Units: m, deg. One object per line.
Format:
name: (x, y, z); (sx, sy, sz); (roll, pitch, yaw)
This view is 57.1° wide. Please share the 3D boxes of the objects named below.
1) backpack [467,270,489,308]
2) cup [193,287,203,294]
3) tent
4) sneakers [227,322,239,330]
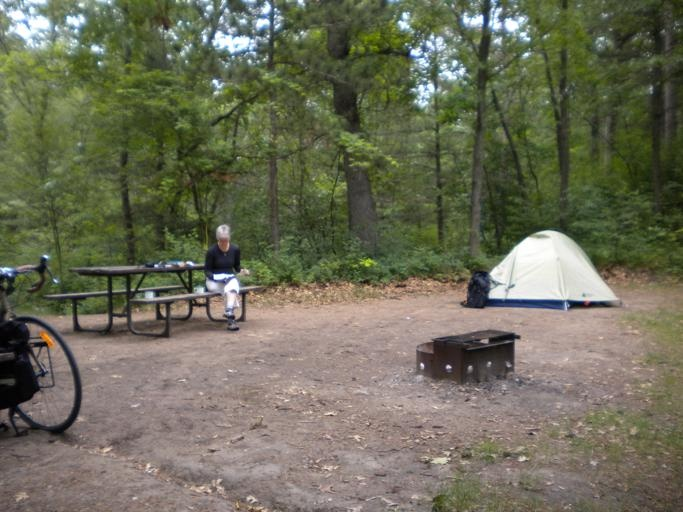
backpack: (3.357, 0.839, 15.529); (0.630, 0.827, 0.366); (5, -14, 37)
cup: (-2.975, 0.727, 13.204); (0.198, 0.132, 0.196); (0, -2, 0)
tent: (4.688, 0.150, 15.539); (2.259, 1.223, 2.686); (0, 1, -25)
sneakers: (-2.150, 1.416, 12.554); (0.122, 0.133, 0.260); (2, -7, -34)
